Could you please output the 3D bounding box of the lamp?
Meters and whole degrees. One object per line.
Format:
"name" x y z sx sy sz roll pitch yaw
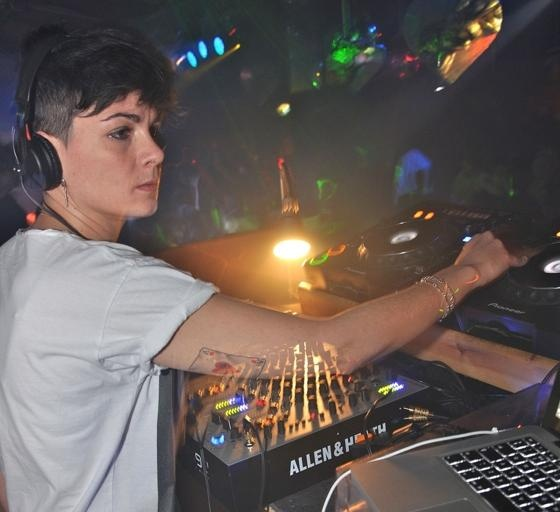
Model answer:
"lamp" 0.043 -0.275 2.120 0.154 0.352 0.150 -6 3 11

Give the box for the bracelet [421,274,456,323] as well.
"bracelet" 0.279 0.076 0.840 0.066 0.070 0.024 -10 -23 44
